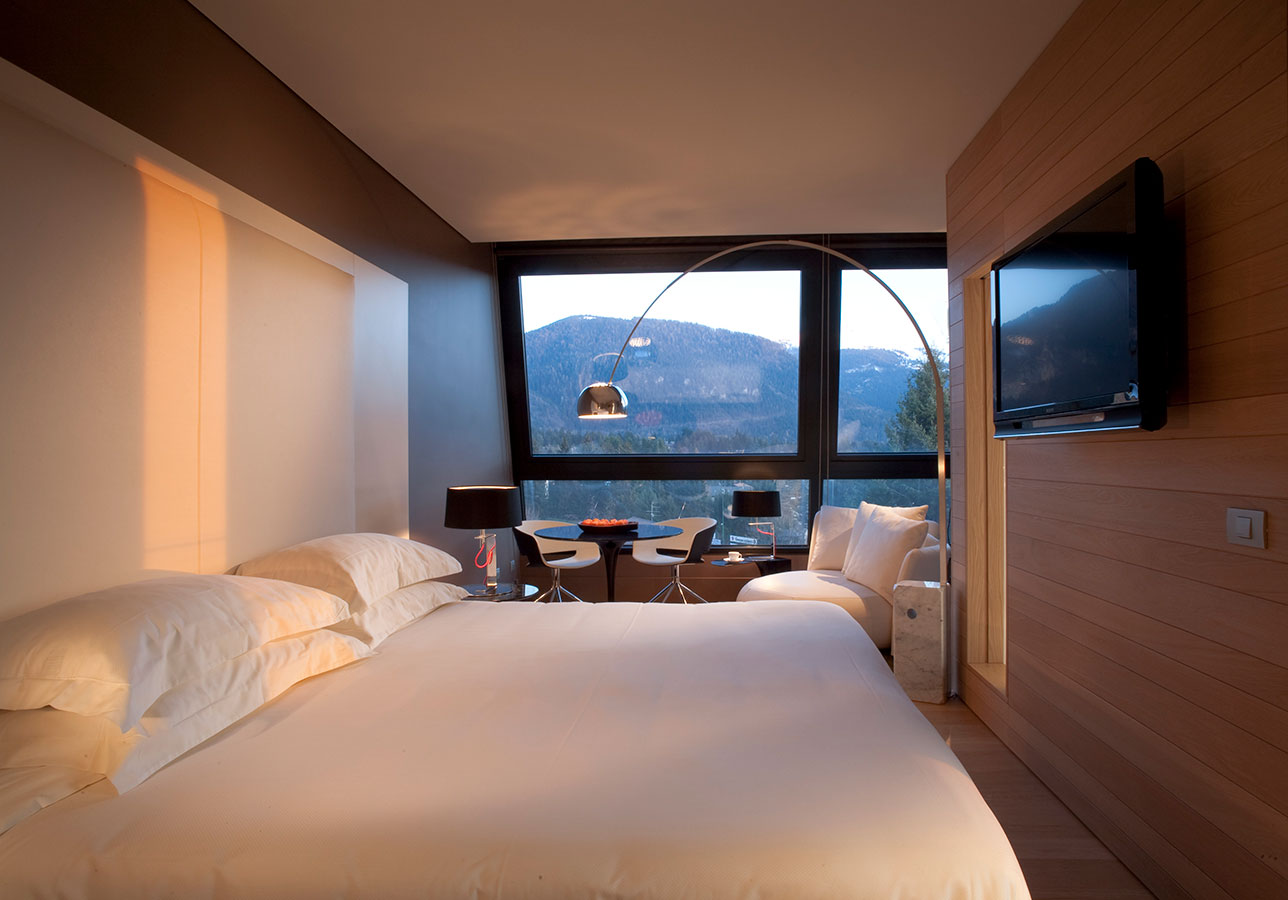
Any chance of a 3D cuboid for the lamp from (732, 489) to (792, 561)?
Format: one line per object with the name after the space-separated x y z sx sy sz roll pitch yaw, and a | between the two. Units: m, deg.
0.895 0.567 6.598 0.505 0.755 0.510 0 -2 2 | lamp
